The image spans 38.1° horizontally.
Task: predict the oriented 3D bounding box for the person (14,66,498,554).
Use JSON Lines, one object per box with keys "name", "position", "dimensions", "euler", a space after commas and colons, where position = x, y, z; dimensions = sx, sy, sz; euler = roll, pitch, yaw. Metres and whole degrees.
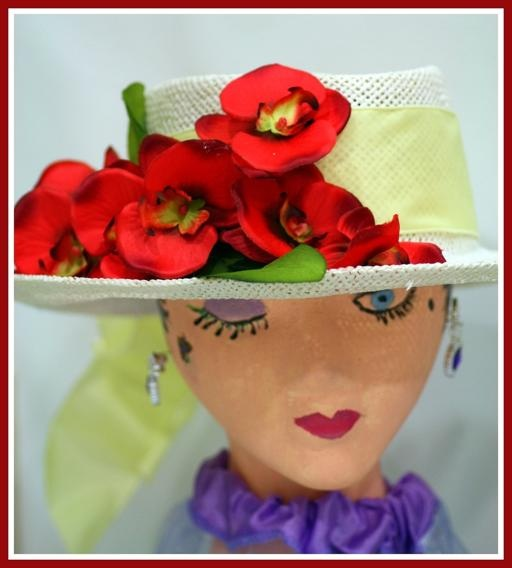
{"name": "person", "position": [-0.002, 0.032, 1.560], "dimensions": [0.833, 0.823, 0.787], "euler": [-2, 89, -7]}
